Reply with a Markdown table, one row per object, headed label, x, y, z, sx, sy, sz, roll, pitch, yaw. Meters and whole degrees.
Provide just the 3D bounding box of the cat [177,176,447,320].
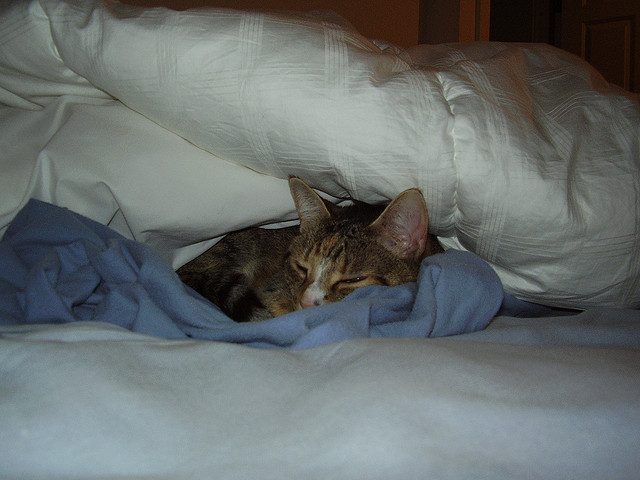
| label | x | y | z | sx | sy | sz | roll | pitch | yaw |
| --- | --- | --- | --- | --- | --- | --- | --- | --- | --- |
| cat | 0.007 | 0.069 | 1.822 | 0.553 | 0.255 | 0.429 | 1 | 36 | 13 |
